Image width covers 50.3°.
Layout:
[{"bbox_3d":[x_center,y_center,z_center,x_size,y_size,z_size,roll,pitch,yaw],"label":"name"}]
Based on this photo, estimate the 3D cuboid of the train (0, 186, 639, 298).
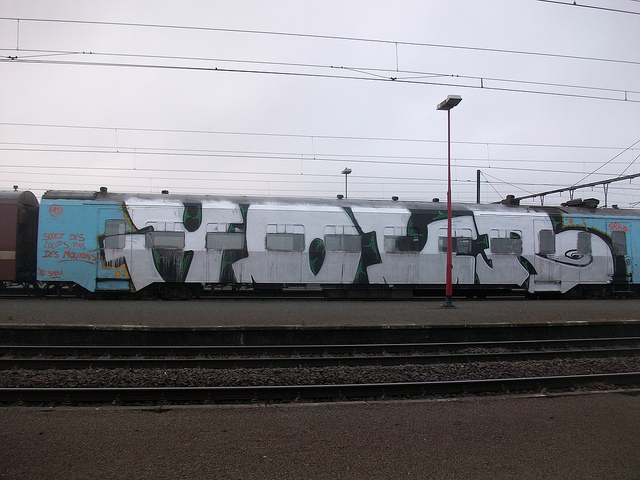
[{"bbox_3d":[0.127,0.302,24.946,22.589,4.176,1.572,0,9,-7],"label":"train"}]
